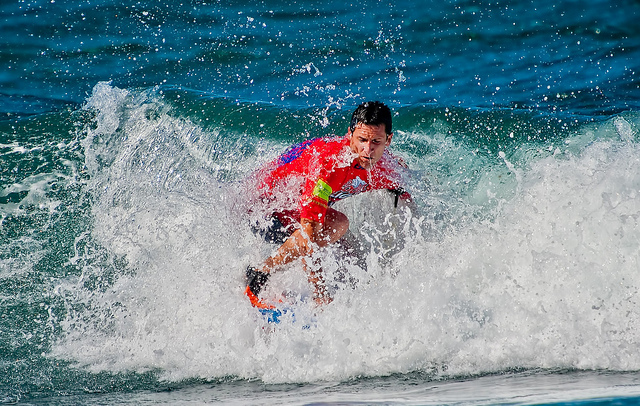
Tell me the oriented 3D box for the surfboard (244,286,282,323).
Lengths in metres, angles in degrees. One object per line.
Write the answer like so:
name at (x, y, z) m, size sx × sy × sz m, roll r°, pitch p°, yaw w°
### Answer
surfboard at (-0.662, 1.140, 10.203) m, size 0.600 × 0.173 × 0.204 m, roll 36°, pitch 62°, yaw 18°
